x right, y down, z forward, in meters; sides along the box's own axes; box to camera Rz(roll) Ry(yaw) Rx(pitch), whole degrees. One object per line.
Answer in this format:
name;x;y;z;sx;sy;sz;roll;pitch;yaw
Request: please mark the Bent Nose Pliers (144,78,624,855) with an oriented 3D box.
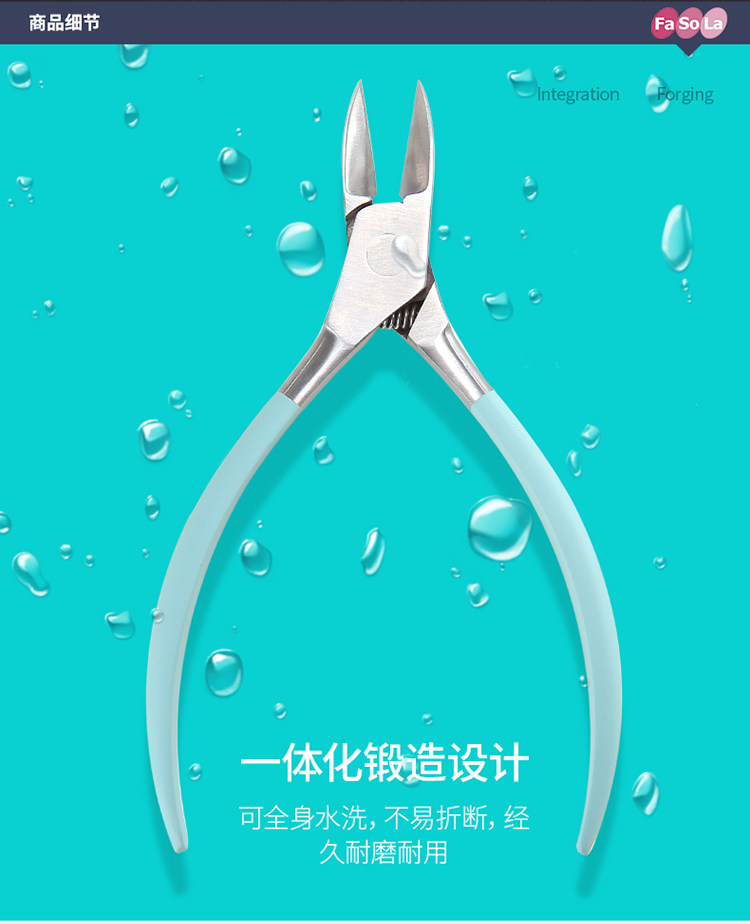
Bent Nose Pliers;0.013;0.013;1.174;0.507;0.466;0.721;1;59;0
